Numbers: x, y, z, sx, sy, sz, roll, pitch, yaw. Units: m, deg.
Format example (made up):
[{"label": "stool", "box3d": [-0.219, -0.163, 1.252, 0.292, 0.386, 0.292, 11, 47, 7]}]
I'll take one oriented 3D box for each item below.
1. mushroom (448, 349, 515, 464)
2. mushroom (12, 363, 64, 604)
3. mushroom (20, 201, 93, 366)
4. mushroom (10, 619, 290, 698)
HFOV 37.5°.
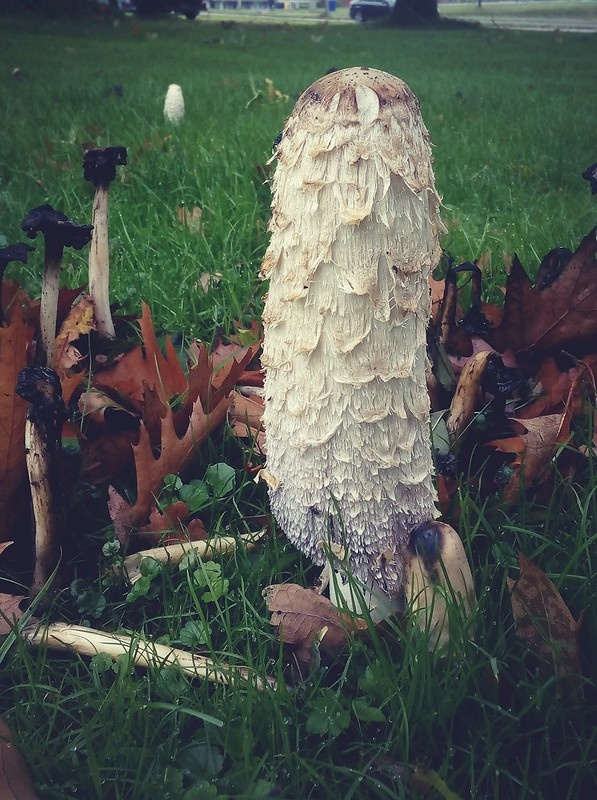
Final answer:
[{"label": "mushroom", "box3d": [0.376, 0.006, 1.938, 0.128, 0.243, 0.056, -14, 30, -30]}, {"label": "mushroom", "box3d": [-0.477, 0.139, 1.661, 0.094, 0.460, 0.140, -5, 27, -14]}, {"label": "mushroom", "box3d": [-0.434, -0.207, 1.610, 0.130, 0.297, 0.067, -15, 30, -31]}, {"label": "mushroom", "box3d": [-0.272, 0.472, 1.592, 0.567, 0.059, 0.061, 8, 27, 9]}]
